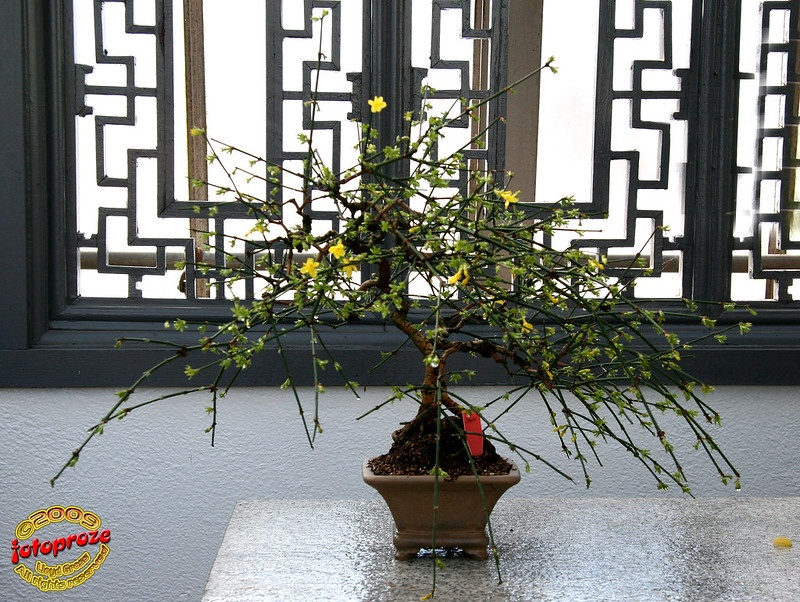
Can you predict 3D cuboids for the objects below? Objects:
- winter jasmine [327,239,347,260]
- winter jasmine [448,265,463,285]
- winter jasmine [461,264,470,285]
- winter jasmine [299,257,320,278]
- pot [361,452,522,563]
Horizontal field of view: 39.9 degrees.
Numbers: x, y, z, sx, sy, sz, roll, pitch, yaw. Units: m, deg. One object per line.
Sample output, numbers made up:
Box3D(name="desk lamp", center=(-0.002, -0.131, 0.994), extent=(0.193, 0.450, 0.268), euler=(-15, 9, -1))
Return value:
Box3D(name="winter jasmine", center=(-0.129, -0.108, 2.242), extent=(0.047, 0.034, 0.012), euler=(-6, 9, -10))
Box3D(name="winter jasmine", center=(0.114, -0.055, 2.246), extent=(0.023, 0.044, 0.024), euler=(27, -46, 14))
Box3D(name="winter jasmine", center=(0.127, -0.055, 2.206), extent=(0.016, 0.032, 0.022), euler=(1, 6, -33))
Box3D(name="winter jasmine", center=(-0.184, -0.067, 2.260), extent=(0.049, 0.013, 0.039), euler=(16, -52, -9))
Box3D(name="pot", center=(0.117, 0.488, 2.519), extent=(0.387, 0.183, 0.350), euler=(1, -14, 6))
